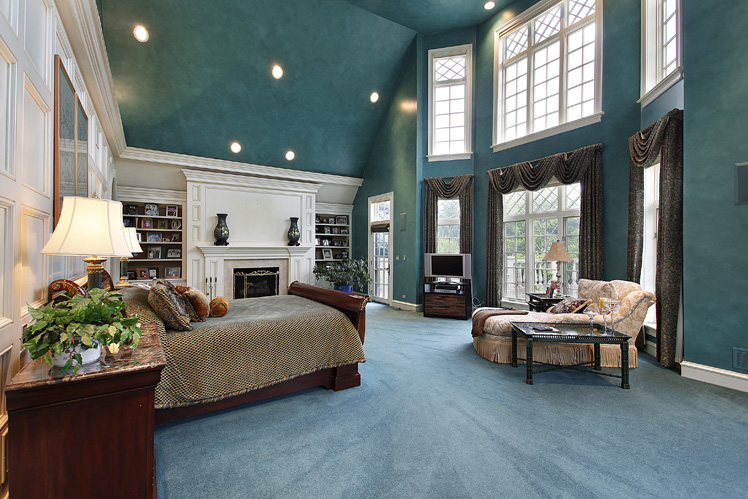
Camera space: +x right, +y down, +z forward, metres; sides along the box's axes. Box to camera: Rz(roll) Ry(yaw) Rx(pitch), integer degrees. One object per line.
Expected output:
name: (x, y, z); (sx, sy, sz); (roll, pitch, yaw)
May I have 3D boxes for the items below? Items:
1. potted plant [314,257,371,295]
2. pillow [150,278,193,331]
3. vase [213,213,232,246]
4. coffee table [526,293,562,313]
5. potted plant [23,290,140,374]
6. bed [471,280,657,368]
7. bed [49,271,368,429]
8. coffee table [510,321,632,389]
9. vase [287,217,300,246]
potted plant: (-0.591, 0.500, 9.540); (0.858, 0.636, 0.873); (1, 1, 36)
pillow: (-2.069, 0.558, 4.619); (0.405, 0.487, 0.452); (1, -2, -24)
vase: (-2.911, -0.402, 8.675); (0.288, 0.620, 0.227); (1, -2, -24)
coffee table: (2.561, 0.710, 6.776); (0.264, 0.326, 0.349); (-2, 5, -11)
potted plant: (-2.191, 0.541, 3.450); (0.661, 0.421, 0.629); (2, 6, -16)
bed: (2.337, 1.018, 5.911); (1.439, 0.770, 1.447); (0, -2, 7)
bed: (-1.190, 1.080, 4.806); (1.835, 0.789, 1.815); (0, 1, -38)
coffee table: (2.293, 1.394, 5.344); (0.769, 0.545, 1.060); (0, -3, 3)
vase: (-1.656, -0.391, 9.446); (0.290, 0.585, 0.244); (0, -2, -18)
